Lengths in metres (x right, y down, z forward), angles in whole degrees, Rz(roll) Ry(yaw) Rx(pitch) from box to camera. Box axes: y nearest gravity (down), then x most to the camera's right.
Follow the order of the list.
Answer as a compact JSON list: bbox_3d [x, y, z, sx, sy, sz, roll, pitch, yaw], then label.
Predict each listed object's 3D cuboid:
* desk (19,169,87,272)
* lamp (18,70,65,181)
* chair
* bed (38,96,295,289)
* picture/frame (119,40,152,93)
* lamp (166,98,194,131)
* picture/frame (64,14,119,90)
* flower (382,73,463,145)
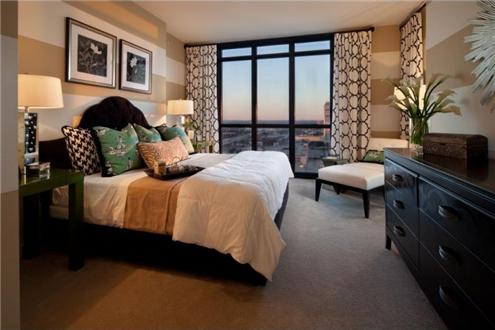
[{"bbox_3d":[-1.977,0.545,3.195,0.831,0.892,0.468,4,9,18],"label":"desk"},{"bbox_3d":[-2.096,-0.466,3.184,0.417,0.938,0.693,-8,14,-31],"label":"lamp"},{"bbox_3d":[1.939,0.092,5.089,1.564,1.102,0.903,-5,12,-40],"label":"chair"},{"bbox_3d":[-0.792,0.009,4.370,2.868,1.744,2.836,2,11,21],"label":"bed"},{"bbox_3d":[-1.756,-1.520,4.933,0.059,0.715,0.721,5,6,19],"label":"picture/frame"},{"bbox_3d":[-1.243,-0.957,5.851,0.482,0.598,0.511,0,6,7],"label":"lamp"},{"bbox_3d":[-2.073,-1.466,4.211,0.030,0.754,0.749,12,10,26],"label":"picture/frame"},{"bbox_3d":[1.812,-0.585,3.287,0.615,0.693,0.655,-22,28,-20],"label":"flower"}]
